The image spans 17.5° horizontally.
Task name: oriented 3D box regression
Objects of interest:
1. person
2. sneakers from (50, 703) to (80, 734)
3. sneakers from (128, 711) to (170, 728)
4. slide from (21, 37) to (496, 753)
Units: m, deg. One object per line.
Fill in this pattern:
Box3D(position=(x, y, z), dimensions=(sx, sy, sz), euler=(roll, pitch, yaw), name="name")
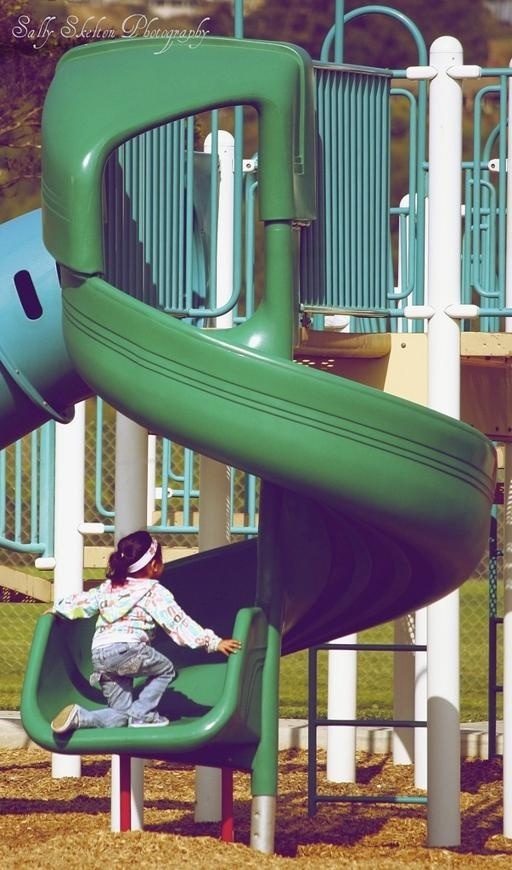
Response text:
Box3D(position=(-0.455, 0.706, 6.003), dimensions=(0.638, 0.758, 0.501), euler=(-3, -7, 20), name="person")
Box3D(position=(-0.660, 0.973, 5.682), dimensions=(0.088, 0.084, 0.184), euler=(-2, 13, 4), name="sneakers")
Box3D(position=(-0.386, 1.024, 5.963), dimensions=(0.156, 0.086, 0.066), euler=(-1, 0, -3), name="sneakers")
Box3D(position=(0.100, -0.078, 7.184), dimensions=(1.866, 3.761, 2.055), euler=(1, -1, 12), name="slide")
